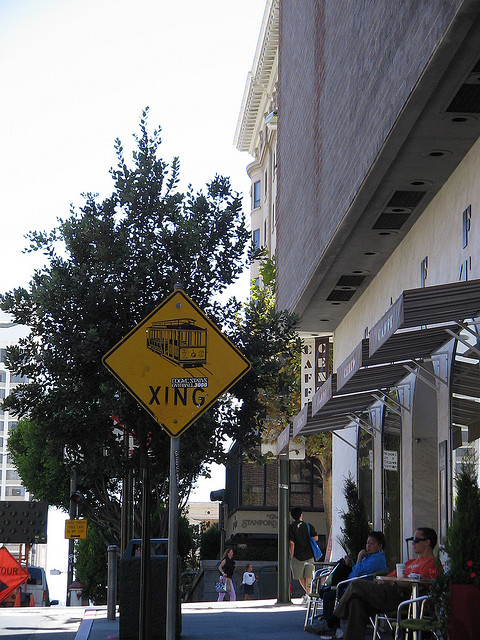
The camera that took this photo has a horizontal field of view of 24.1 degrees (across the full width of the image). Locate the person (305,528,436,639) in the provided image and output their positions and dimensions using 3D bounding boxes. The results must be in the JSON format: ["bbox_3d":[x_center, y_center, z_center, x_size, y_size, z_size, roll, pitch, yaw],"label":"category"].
[{"bbox_3d":[1.367,2.601,11.188,1.252,1.145,2.259,-2,-19,6],"label":"person"}]

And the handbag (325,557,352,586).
[{"bbox_3d":[1.113,2.951,13.240,0.308,0.126,0.249,-23,8,46],"label":"handbag"}]
